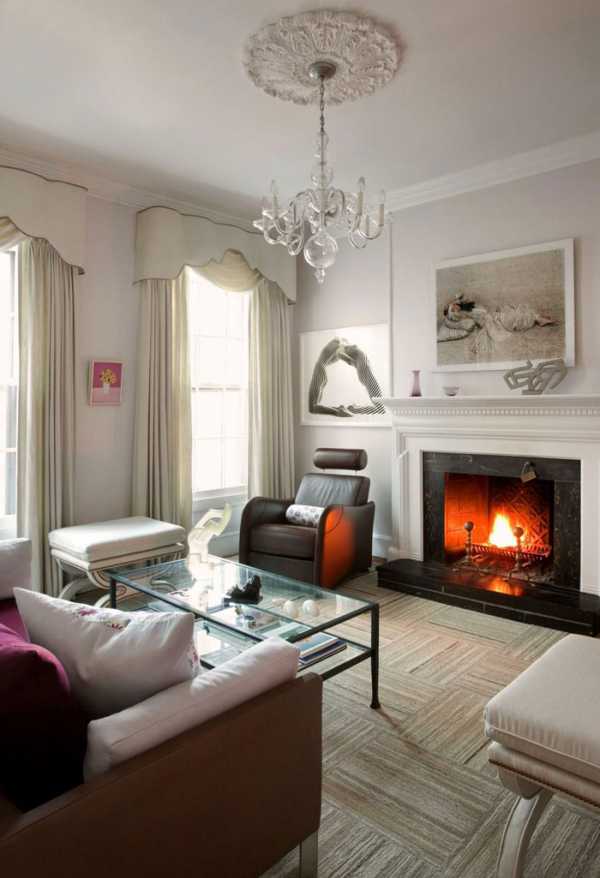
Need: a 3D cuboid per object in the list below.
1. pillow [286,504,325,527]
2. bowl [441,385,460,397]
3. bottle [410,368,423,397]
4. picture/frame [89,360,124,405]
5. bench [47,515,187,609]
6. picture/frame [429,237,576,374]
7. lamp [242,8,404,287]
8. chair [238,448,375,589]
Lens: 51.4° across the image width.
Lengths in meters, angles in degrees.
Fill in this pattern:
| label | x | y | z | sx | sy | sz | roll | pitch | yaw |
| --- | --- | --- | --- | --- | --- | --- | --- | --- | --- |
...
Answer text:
| label | x | y | z | sx | sy | sz | roll | pitch | yaw |
| --- | --- | --- | --- | --- | --- | --- | --- | --- | --- |
| pillow | 0.021 | 0.531 | 4.341 | 0.296 | 0.143 | 0.134 | 1 | -27 | 42 |
| bowl | 1.001 | -0.306 | 4.155 | 0.085 | 0.055 | 0.088 | 0 | -3 | 0 |
| bottle | 0.804 | -0.390 | 4.354 | 0.071 | 0.199 | 0.248 | 0 | 3 | 11 |
| picture/frame | -1.289 | -0.378 | 4.121 | 0.037 | 0.375 | 0.286 | 6 | 2 | 38 |
| bench | -1.076 | 0.759 | 3.680 | 0.528 | 0.466 | 0.700 | 1 | 2 | 34 |
| picture/frame | 1.252 | -0.836 | 3.989 | 0.926 | 0.757 | 0.019 | 2 | 8 | 36 |
| lamp | 0.076 | -1.290 | 2.898 | 0.799 | 1.120 | 0.850 | -1 | 11 | -7 |
| chair | 0.069 | 0.525 | 4.314 | 0.751 | 0.928 | 0.861 | 1 | -2 | 23 |
